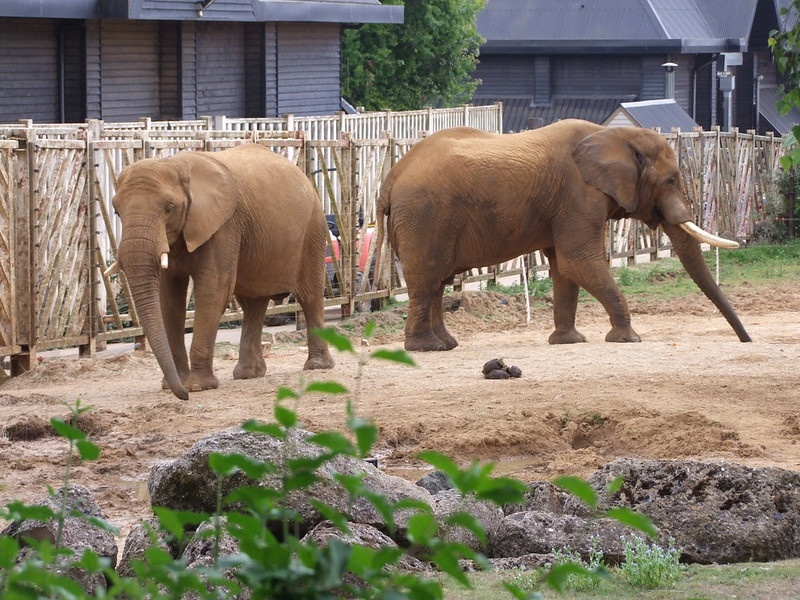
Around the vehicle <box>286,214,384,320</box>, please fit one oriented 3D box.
[{"bbox_3d":[-0.851,-0.594,19.903,0.791,1.097,1.667,0,1,15],"label":"vehicle"}]

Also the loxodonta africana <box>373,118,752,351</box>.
[{"bbox_3d":[1.918,-0.782,16.942,4.160,2.974,1.666,1,13,1],"label":"loxodonta africana"}]

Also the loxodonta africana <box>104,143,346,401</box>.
[{"bbox_3d":[-1.810,-0.351,14.885,1.185,2.532,2.818,0,2,36],"label":"loxodonta africana"}]
